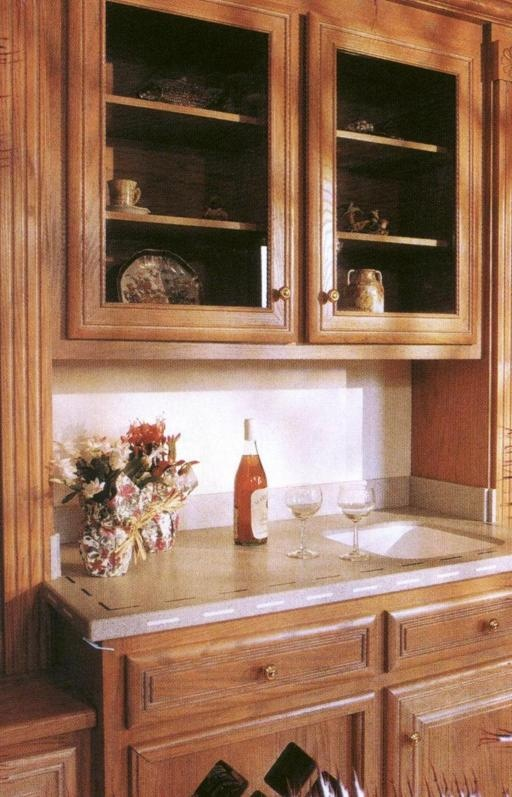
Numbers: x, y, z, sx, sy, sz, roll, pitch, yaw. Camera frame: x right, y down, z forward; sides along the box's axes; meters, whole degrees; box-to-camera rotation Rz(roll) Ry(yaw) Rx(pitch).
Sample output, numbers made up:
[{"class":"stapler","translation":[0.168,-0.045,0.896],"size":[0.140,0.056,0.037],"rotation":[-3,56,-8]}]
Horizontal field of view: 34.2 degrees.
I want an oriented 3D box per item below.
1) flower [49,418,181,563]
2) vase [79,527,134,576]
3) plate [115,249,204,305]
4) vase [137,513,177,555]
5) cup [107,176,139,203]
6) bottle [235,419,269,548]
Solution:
[{"class":"flower","translation":[-0.238,0.171,1.626],"size":[0.267,0.216,0.310],"rotation":[1,3,23]},{"class":"vase","translation":[-0.275,0.276,1.582],"size":[0.099,0.091,0.096],"rotation":[-2,4,-25]},{"class":"plate","translation":[-0.189,-0.232,1.646],"size":[0.128,0.123,0.018],"rotation":[7,-15,-33]},{"class":"vase","translation":[-0.200,0.281,1.728],"size":[0.081,0.064,0.074],"rotation":[-12,0,41]},{"class":"cup","translation":[-0.254,-0.402,1.616],"size":[0.057,0.039,0.044],"rotation":[8,-14,-37]},{"class":"bottle","translation":[-0.016,0.207,1.829],"size":[0.074,0.223,0.086],"rotation":[-3,2,-19]}]
